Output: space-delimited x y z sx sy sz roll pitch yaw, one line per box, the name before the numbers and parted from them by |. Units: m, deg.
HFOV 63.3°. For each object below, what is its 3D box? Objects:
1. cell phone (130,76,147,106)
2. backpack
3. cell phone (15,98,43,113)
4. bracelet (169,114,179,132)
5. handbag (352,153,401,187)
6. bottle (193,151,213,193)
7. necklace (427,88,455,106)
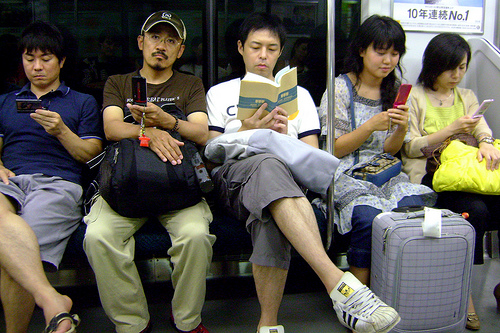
cell phone | -0.740 -0.503 2.704 0.079 0.175 0.101 -5 13 -22
backpack | -0.647 0.042 2.662 0.709 0.288 0.689 -5 57 -26
cell phone | -1.515 -0.413 2.780 0.151 0.090 0.024 -3 4 -22
bracelet | -0.535 -0.306 2.929 0.038 0.098 0.080 10 -10 -44
handbag | 1.006 0.014 3.196 0.319 0.113 0.231 -24 22 -29
bottle | -0.332 0.047 2.808 0.083 0.089 0.365 -29 42 9
necklace | 1.645 -0.585 3.454 0.175 0.163 0.055 -8 7 1
